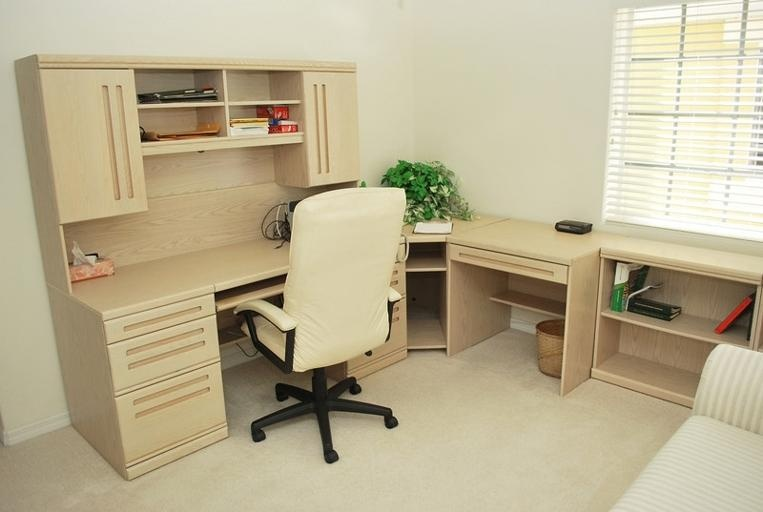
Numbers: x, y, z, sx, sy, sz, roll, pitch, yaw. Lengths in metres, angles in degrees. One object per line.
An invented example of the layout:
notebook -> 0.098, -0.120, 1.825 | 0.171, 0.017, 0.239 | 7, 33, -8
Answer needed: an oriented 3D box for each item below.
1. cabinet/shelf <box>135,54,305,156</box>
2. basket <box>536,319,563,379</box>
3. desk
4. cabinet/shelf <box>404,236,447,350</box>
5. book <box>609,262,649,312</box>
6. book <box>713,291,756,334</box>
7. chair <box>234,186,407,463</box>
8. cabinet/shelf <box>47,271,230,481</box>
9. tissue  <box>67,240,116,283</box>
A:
cabinet/shelf -> -1.111, -1.010, 3.550 | 1.144, 0.494, 0.311 | -14, 25, -38
basket -> 1.225, 0.670, 3.900 | 0.197, 0.357, 0.542 | 5, 21, 17
desk -> 1.080, 0.081, 4.260 | 1.526, 1.313, 1.191 | 11, 18, 43
cabinet/shelf -> 0.355, 0.276, 4.396 | 0.313, 0.789, 0.804 | 0, 21, 3
book -> 1.711, 0.210, 3.685 | 0.114, 0.279, 0.315 | 17, 21, 37
book -> 2.255, 0.356, 3.390 | 0.239, 0.260, 0.122 | -2, 22, -3
chair -> -0.385, 0.375, 3.178 | 0.892, 1.590, 0.632 | 8, 24, 22
cabinet/shelf -> -1.566, 0.720, 3.406 | 0.846, 1.020, 0.917 | -9, 17, -36
tissue  -> -1.836, -0.003, 3.366 | 0.277, 0.250, 0.260 | -9, 19, -34
